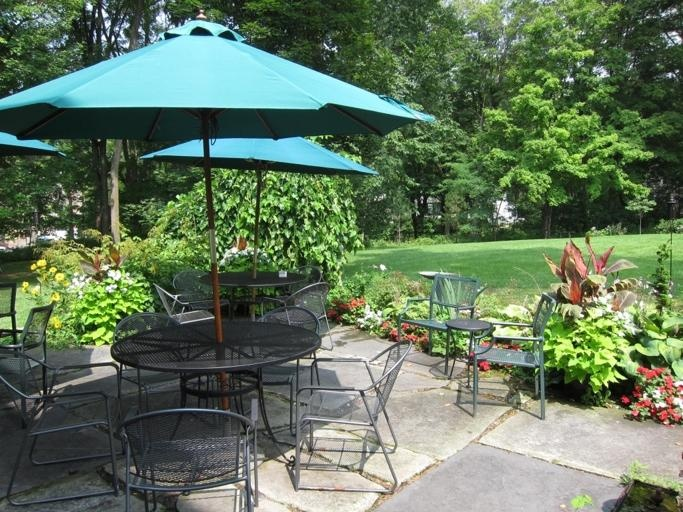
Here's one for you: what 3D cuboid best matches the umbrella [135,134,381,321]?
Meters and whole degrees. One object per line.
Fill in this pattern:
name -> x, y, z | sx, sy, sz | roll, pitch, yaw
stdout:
umbrella -> -1.002, -0.454, 7.103 | 2.266, 1.406, 2.276 | 6, -3, -33
